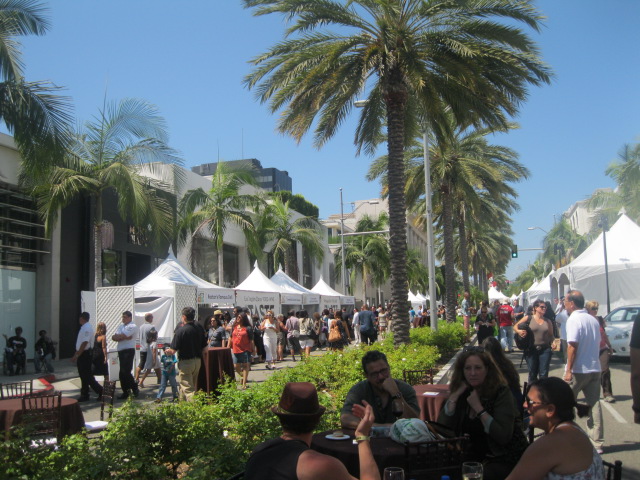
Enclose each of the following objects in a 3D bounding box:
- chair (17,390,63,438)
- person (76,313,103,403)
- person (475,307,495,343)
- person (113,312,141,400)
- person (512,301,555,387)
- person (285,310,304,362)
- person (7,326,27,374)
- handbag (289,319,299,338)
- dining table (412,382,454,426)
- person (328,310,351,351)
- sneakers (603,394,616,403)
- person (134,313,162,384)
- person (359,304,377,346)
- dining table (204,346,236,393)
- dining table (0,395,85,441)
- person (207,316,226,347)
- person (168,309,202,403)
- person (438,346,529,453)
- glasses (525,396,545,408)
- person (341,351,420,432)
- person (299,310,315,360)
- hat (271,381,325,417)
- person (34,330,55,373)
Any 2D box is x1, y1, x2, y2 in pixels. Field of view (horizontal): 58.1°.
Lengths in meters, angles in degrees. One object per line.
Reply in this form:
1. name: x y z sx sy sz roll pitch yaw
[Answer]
1. chair: -4.098 2.581 8.442 0.568 0.634 1.772 2 -12 -26
2. person: -5.890 2.920 14.571 0.580 2.266 1.275 2 -10 -24
3. person: 5.868 3.042 20.603 0.569 1.186 1.731 -5 -11 16
4. person: -4.965 2.914 14.760 0.623 2.233 1.313 1 -10 -18
5. person: 4.871 2.449 12.944 0.775 2.210 0.662 -2 6 16
6. person: -1.141 3.790 23.620 0.581 2.035 0.592 -6 18 -13
7. person: -11.181 4.218 21.150 0.631 1.401 0.819 3 -11 -32
8. handbag: -1.098 3.526 23.346 0.444 0.801 0.334 -2 -9 -5
9. dining table: 1.803 2.688 9.474 0.595 0.451 0.672 -4 1 0
10. person: 0.715 3.527 23.577 0.866 2.018 0.826 -5 1 14
11. sneakers: 6.381 3.510 12.786 0.133 0.260 0.234 5 -13 -33
12. person: -5.077 3.213 17.142 0.625 2.105 0.530 0 2 -6
13. person: 1.805 3.572 23.992 0.533 1.867 0.545 -6 16 -11
14. dining table: -2.426 3.140 13.827 0.740 0.989 0.804 1 -18 -29
15. dining table: -4.309 2.707 8.902 0.961 0.423 0.992 13 -18 -30
16. person: -3.024 2.647 16.779 0.424 0.913 1.429 -1 -11 -11
17. person: -2.958 2.509 12.915 0.750 1.971 0.433 0 -9 -17
18. person: 1.967 2.108 7.287 0.967 1.454 0.954 -3 -10 16
19. glasses: 2.196 1.637 5.850 0.133 0.048 0.144 4 -21 3
20. person: 0.775 2.312 7.701 0.910 1.627 0.795 -4 -11 0
21. person: -0.624 3.810 23.607 0.617 2.249 0.610 5 19 15
22. hat: -0.198 1.490 5.445 0.480 0.278 0.687 4 0 -1
23. person: -10.145 4.069 21.211 0.664 1.703 3.430 2 -12 -25
